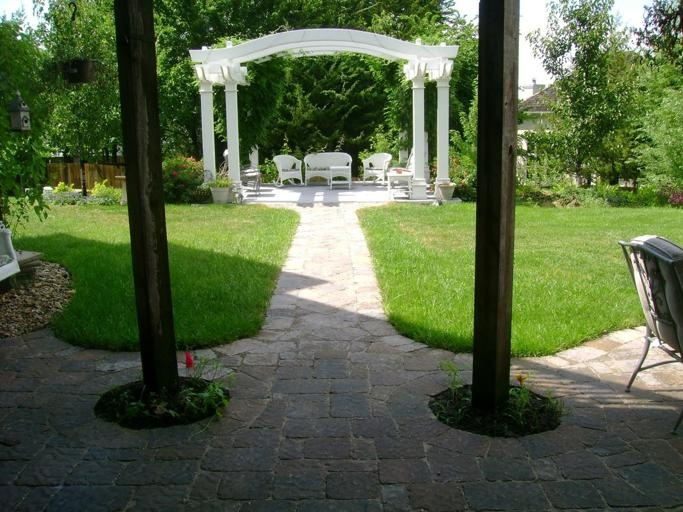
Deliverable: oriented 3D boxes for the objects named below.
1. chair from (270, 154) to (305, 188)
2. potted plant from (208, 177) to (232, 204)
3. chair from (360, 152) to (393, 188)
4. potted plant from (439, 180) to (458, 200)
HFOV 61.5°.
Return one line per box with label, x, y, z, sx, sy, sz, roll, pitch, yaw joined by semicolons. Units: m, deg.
chair;-1.594;-2.769;18.174;1.140;1.314;1.147;-4;8;-30
potted plant;-2.980;-1.677;14.470;0.599;0.688;0.594;0;6;-2
chair;1.061;-2.870;18.466;1.191;1.418;1.049;5;11;25
potted plant;2.664;-1.648;14.467;0.448;0.462;0.190;-7;16;-25
